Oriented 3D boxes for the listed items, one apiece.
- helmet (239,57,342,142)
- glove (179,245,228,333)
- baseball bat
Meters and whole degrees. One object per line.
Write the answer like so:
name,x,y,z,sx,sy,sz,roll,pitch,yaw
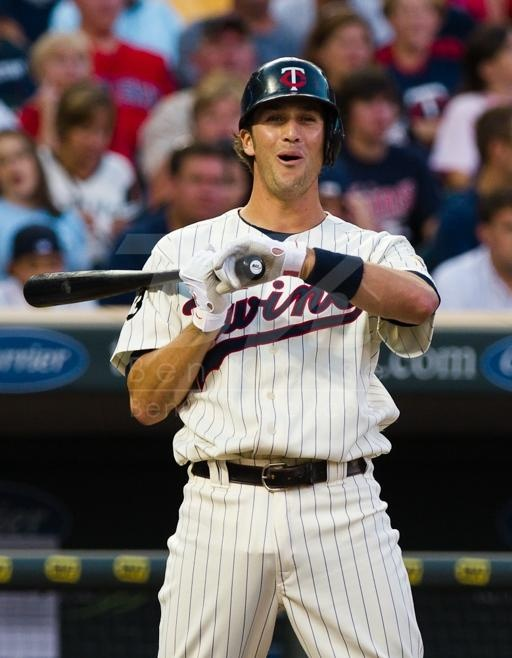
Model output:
helmet,0.077,-0.561,2.847,0.178,0.100,0.212,0,2,-5
glove,-0.113,-0.072,2.632,0.070,0.151,0.136,-6,4,-8
baseball bat,-0.232,-0.106,2.744,0.628,0.088,0.119,-7,1,0
